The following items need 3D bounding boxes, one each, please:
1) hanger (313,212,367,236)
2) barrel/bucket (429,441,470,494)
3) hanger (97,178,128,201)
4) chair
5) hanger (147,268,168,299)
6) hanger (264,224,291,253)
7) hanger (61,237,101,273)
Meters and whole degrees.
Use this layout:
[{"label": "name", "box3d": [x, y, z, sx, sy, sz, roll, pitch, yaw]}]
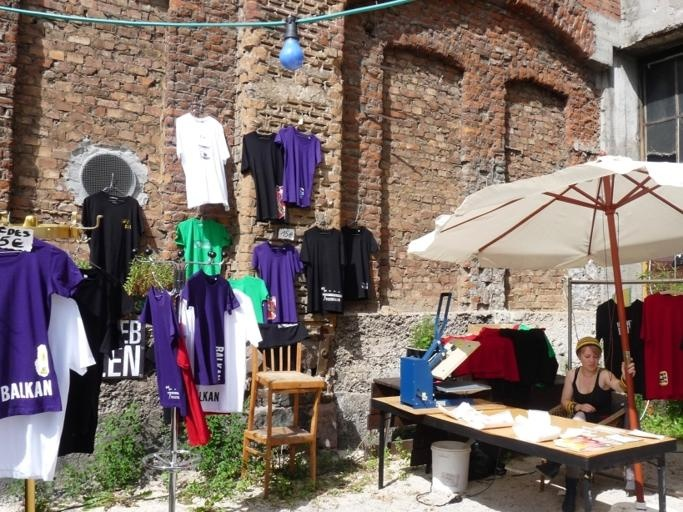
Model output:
[{"label": "hanger", "box3d": [0.007, -0.410, 10.343, 0.288, 0.307, 0.834, -3, -7, 30]}, {"label": "barrel/bucket", "box3d": [1.102, 2.129, 8.436, 0.405, 0.485, 0.391, 4, 1, 0]}, {"label": "hanger", "box3d": [-2.702, -0.785, 9.807, 0.329, 0.336, 0.024, 11, -45, -41]}, {"label": "chair", "box3d": [-0.603, 1.565, 8.780, 0.777, 1.716, 0.768, 3, -4, -28]}, {"label": "hanger", "box3d": [-1.873, 0.282, 8.469, 0.129, 0.221, 0.186, -19, -15, 20]}, {"label": "hanger", "box3d": [-0.765, -0.207, 9.876, 0.333, 0.301, 0.175, 3, -6, -24]}, {"label": "hanger", "box3d": [-2.674, -0.015, 8.586, 0.343, 0.631, 0.351, 2, -9, -26]}]
